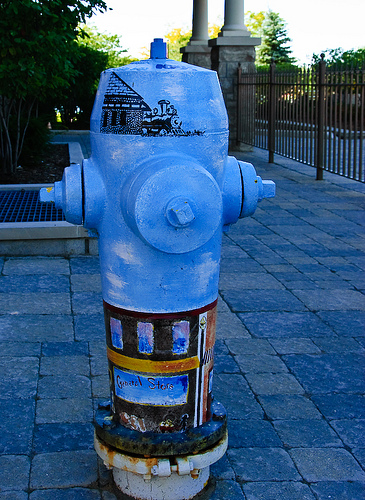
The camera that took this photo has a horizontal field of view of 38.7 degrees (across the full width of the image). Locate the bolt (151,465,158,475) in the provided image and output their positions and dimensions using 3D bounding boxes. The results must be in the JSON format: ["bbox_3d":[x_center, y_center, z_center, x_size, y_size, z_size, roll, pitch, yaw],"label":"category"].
[{"bbox_3d":[-0.096,0.763,1.807,0.032,0.027,0.007,7,3,18],"label":"bolt"}]

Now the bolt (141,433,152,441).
[{"bbox_3d":[-0.123,0.648,1.805,0.022,0.020,0.023,-1,10,-21],"label":"bolt"}]

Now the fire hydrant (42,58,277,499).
[{"bbox_3d":[-0.079,0.077,1.878,0.557,1.445,0.568,11,17,36],"label":"fire hydrant"}]

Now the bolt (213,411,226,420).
[{"bbox_3d":[0.142,0.642,2.024,0.034,0.025,0.018,3,4,-8],"label":"bolt"}]

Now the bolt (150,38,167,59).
[{"bbox_3d":[-0.084,-0.673,1.754,0.051,0.073,0.114,-3,12,-13],"label":"bolt"}]
